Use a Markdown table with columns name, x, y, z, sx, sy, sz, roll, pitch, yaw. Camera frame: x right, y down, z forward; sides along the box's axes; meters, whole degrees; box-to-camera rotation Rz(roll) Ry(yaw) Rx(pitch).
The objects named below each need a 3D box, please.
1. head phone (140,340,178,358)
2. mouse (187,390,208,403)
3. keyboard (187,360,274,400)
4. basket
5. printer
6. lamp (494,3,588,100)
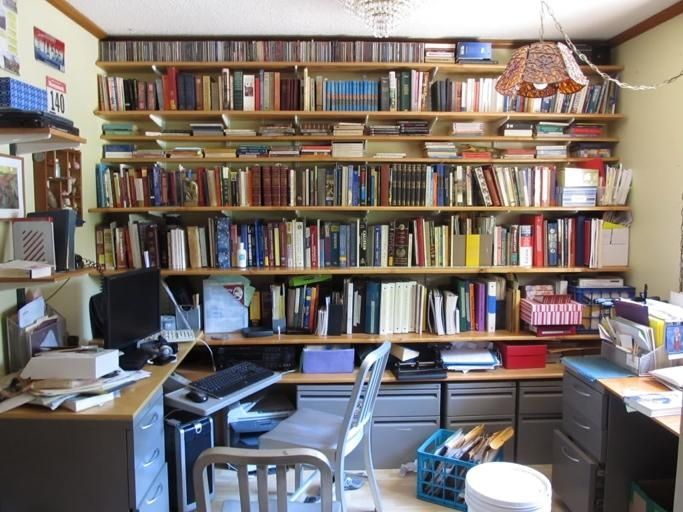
| name | x | y | z | sx | sy | sz | roll | pitch | yaw |
| --- | --- | --- | --- | --- | --- | --- | --- | --- | --- |
| head phone | -1.113 | 0.558 | 3.586 | 0.120 | 0.043 | 0.146 | 9 | 4 | 22 |
| mouse | -0.821 | 0.798 | 3.355 | 0.099 | 0.026 | 0.056 | 6 | 5 | 35 |
| keyboard | -0.653 | 0.754 | 3.585 | 0.292 | 0.059 | 0.465 | 14 | 19 | 39 |
| basket | 0.761 | 1.348 | 3.912 | 0.540 | 0.259 | 0.508 | 2 | 4 | 31 |
| printer | -0.638 | 1.212 | 4.128 | 0.610 | 0.403 | 0.403 | -5 | 7 | -16 |
| lamp | 1.074 | -0.986 | 3.169 | 0.440 | 0.265 | 0.401 | 2 | 4 | 17 |
